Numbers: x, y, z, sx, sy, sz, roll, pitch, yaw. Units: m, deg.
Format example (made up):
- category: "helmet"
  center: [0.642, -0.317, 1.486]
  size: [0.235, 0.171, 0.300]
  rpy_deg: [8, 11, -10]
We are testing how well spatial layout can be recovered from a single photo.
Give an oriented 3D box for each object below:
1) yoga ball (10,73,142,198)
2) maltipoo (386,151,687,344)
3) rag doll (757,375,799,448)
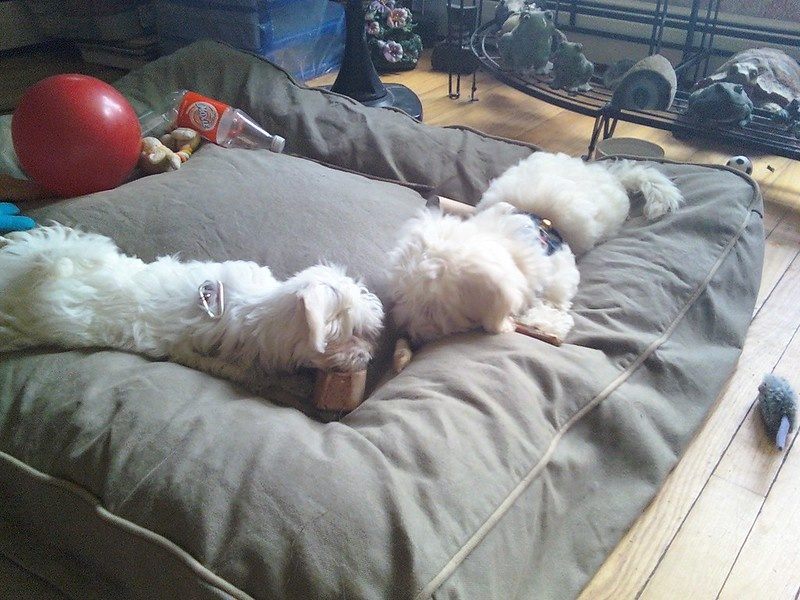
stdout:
- category: "yoga ball"
  center: [-0.643, -0.324, 1.338]
  size: [0.225, 0.274, 0.223]
  rpy_deg: [1, 6, 0]
- category: "maltipoo"
  center: [0.268, -0.106, 1.328]
  size: [0.365, 0.212, 0.524]
  rpy_deg: [15, 56, 42]
- category: "rag doll"
  center: [0.732, 0.220, 1.322]
  size: [0.074, 0.053, 0.124]
  rpy_deg: [5, 44, 8]
